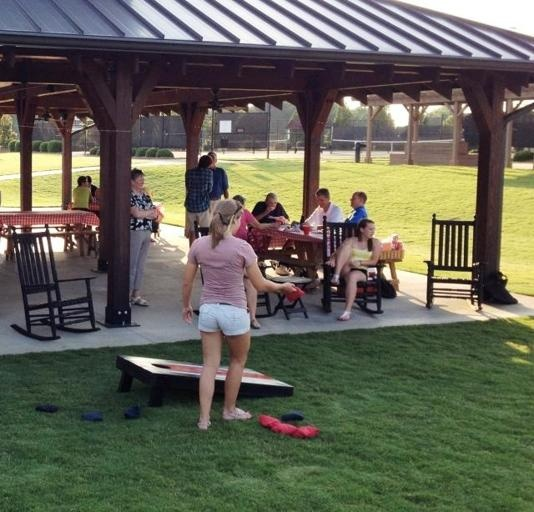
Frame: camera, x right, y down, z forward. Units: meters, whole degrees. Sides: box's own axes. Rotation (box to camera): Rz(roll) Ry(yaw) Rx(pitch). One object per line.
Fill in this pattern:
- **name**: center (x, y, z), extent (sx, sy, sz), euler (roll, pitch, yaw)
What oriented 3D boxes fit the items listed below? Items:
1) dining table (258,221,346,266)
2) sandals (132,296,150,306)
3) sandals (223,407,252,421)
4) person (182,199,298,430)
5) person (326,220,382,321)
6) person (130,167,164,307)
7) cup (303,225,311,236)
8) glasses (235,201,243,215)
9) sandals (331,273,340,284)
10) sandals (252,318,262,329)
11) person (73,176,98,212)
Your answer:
- **dining table**: center (0.480, -0.172, 10.045), extent (0.675, 0.329, 1.098), euler (-7, 12, -31)
- **sandals**: center (-1.697, 0.594, 8.942), extent (0.108, 0.083, 0.211), euler (-5, 7, -43)
- **sandals**: center (-0.232, 1.196, 5.045), extent (0.184, 0.077, 0.092), euler (-2, 3, -16)
- **person**: center (-0.253, 0.421, 4.792), extent (0.740, 1.641, 0.374), euler (0, 4, 4)
- **person**: center (1.130, 0.143, 8.838), extent (0.475, 1.258, 0.850), euler (4, 6, 44)
- **person**: center (-1.600, -0.235, 8.796), extent (0.431, 1.797, 0.629), euler (-1, 4, -12)
- **cup**: center (0.570, -0.375, 9.868), extent (0.121, 0.134, 0.122), euler (1, 7, 0)
- **glasses**: center (-0.196, -0.336, 4.663), extent (0.059, 0.079, 0.080), euler (3, -19, 6)
- **sandals**: center (0.889, 0.294, 8.718), extent (0.141, 0.114, 0.256), euler (1, -2, 5)
- **sandals**: center (-0.133, 0.803, 8.013), extent (0.101, 0.135, 0.321), euler (0, -5, -18)
- **person**: center (-3.750, -1.243, 13.498), extent (0.380, 0.749, 0.404), euler (6, -6, -32)
